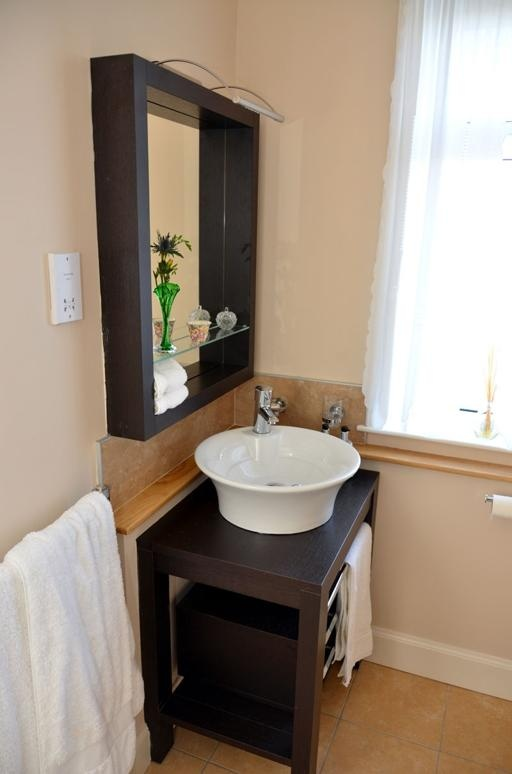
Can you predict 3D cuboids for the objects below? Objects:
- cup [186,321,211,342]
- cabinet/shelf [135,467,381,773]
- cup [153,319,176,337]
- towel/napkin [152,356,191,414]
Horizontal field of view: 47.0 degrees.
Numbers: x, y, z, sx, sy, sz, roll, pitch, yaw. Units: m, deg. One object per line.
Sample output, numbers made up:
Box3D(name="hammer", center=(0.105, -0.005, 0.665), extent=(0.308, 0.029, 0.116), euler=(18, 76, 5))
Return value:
Box3D(name="cup", center=(-0.170, -0.164, 1.678), extent=(0.051, 0.048, 0.058), euler=(1, 19, 3))
Box3D(name="cabinet/shelf", center=(-0.006, 0.711, 1.677), extent=(0.528, 0.743, 0.499), euler=(5, 11, 23))
Box3D(name="cup", center=(-0.234, -0.151, 1.497), extent=(0.037, 0.037, 0.043), euler=(2, 16, 7))
Box3D(name="towel/napkin", center=(-0.210, 0.000, 1.434), extent=(0.041, 0.123, 0.112), euler=(-6, -4, 24))
